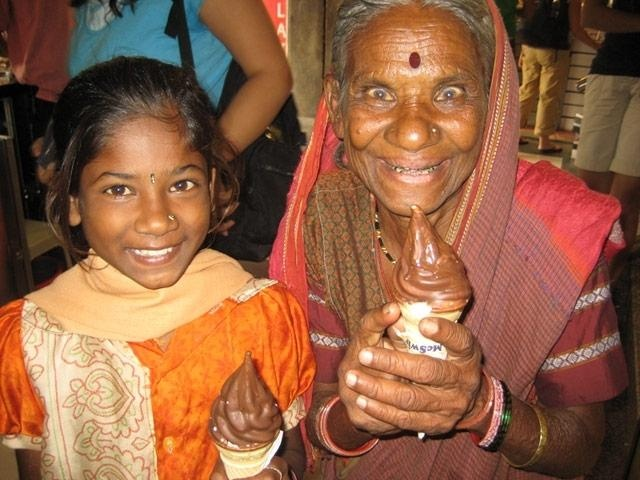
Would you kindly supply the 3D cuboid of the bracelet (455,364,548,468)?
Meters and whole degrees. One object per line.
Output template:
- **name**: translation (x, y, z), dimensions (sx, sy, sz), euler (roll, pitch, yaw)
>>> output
- **bracelet**: translation (0.717, 0.716, 2.343), dimensions (0.384, 0.424, 0.100), euler (-4, 11, -19)

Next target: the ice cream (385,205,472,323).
- **ice cream**: translation (0.331, 0.091, 2.031), dimensions (0.234, 0.360, 0.262), euler (1, 23, -6)

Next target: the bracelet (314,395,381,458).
- **bracelet**: translation (0.102, 0.774, 2.652), dimensions (0.239, 0.263, 0.287), euler (-6, 14, -10)
